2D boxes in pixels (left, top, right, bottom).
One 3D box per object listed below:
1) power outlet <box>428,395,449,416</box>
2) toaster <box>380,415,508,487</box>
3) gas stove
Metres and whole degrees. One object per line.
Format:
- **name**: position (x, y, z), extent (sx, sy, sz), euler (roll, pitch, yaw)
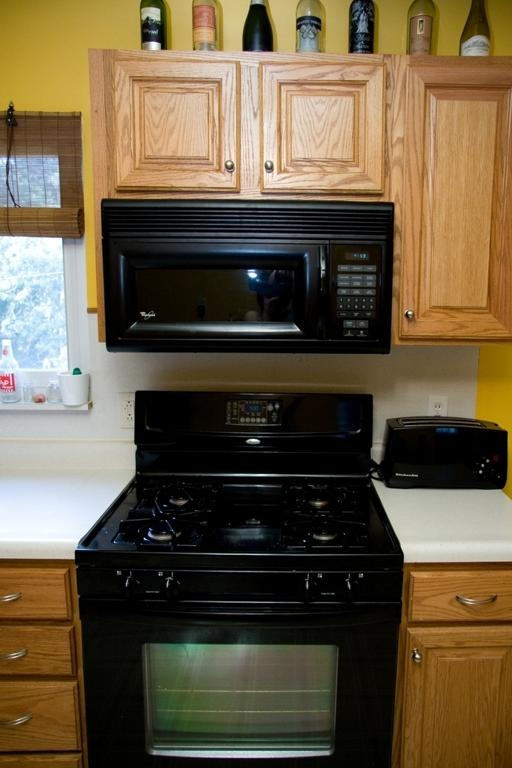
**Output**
- **power outlet**: position (0.578, 0.064, 1.994), extent (0.060, 0.073, 0.004), euler (0, 6, -2)
- **toaster**: position (0.521, 0.163, 1.810), extent (0.336, 0.185, 0.252), euler (-1, 13, -6)
- **gas stove**: position (-0.034, 0.368, 1.592), extent (0.720, 0.148, 0.499), euler (0, 11, 1)
